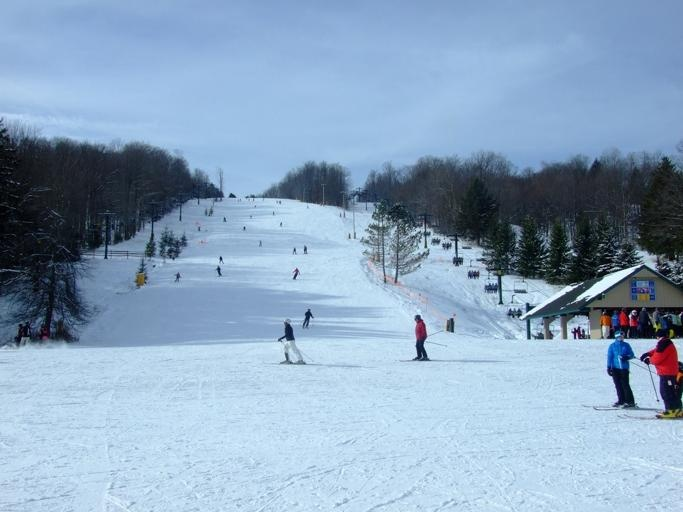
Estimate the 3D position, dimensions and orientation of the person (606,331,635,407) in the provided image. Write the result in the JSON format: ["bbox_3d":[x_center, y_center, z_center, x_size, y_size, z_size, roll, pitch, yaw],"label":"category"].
[{"bbox_3d":[8.057,3.238,19.751,0.753,2.244,1.286,1,5,24],"label":"person"}]
